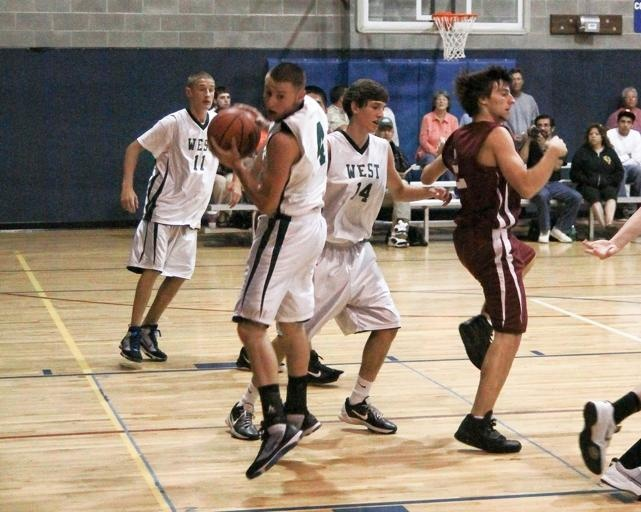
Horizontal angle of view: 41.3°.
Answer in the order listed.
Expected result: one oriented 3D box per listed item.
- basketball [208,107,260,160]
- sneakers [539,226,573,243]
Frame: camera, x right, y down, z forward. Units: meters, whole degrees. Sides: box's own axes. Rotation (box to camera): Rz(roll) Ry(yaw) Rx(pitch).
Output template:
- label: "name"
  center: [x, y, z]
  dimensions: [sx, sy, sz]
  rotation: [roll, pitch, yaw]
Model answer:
- label: "basketball"
  center: [-0.406, -0.577, 3.988]
  dimensions: [0.241, 0.233, 0.192]
  rotation: [1, 9, -6]
- label: "sneakers"
  center: [3.214, -0.297, 11.774]
  dimensions: [0.561, 0.239, 0.188]
  rotation: [1, 1, 1]
